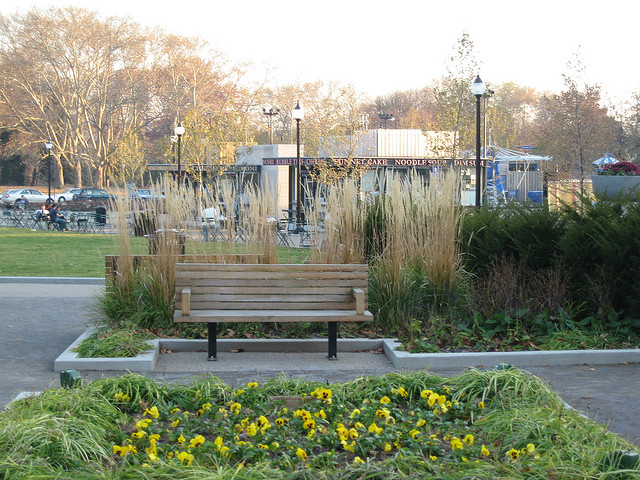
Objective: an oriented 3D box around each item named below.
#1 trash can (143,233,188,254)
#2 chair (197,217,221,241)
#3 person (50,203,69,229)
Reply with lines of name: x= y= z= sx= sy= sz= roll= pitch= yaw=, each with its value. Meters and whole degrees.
trash can: x=-1.922 y=0.043 z=9.798 sx=0.384 sy=0.305 sz=0.315 roll=0 pitch=0 yaw=-33
chair: x=-1.498 y=-0.166 z=10.177 sx=0.368 sy=0.371 sz=0.277 roll=0 pitch=-3 yaw=-3
person: x=-9.838 y=-0.819 z=28.572 sx=0.542 sy=0.810 sz=1.251 roll=0 pitch=2 yaw=-21
